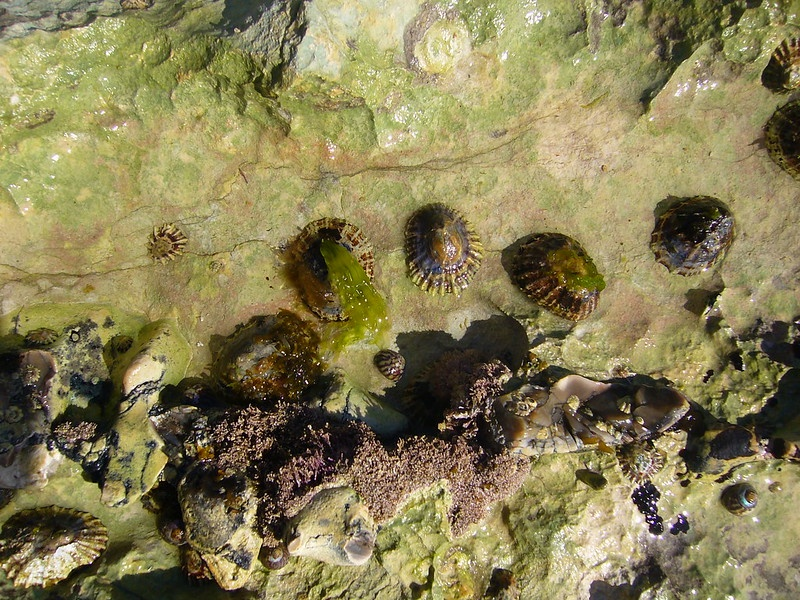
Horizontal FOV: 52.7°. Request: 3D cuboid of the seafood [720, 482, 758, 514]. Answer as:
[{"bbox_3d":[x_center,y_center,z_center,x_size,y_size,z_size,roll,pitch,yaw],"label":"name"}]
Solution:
[{"bbox_3d":[3.870,2.271,9.204,0.357,0.272,0.265,-5,48,-12],"label":"seafood"}]
